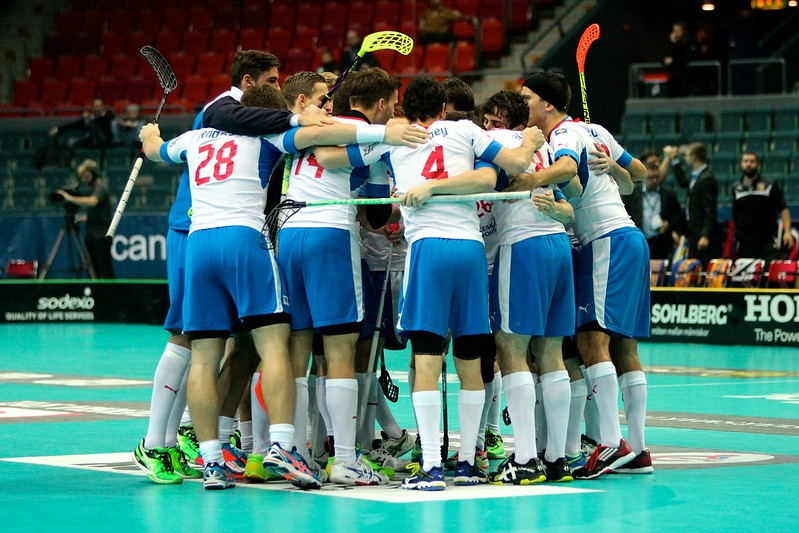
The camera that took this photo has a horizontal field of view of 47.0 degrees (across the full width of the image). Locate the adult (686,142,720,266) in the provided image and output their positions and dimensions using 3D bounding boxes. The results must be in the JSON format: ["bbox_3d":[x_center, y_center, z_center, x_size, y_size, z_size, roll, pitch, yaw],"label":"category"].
[{"bbox_3d":[5.364,-1.070,16.125,0.507,2.066,0.584,-1,-1,16],"label":"adult"}]

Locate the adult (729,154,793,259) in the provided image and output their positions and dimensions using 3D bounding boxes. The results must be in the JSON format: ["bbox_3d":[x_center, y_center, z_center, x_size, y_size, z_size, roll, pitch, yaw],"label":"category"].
[{"bbox_3d":[6.231,-1.028,15.702,0.946,1.830,0.873,-1,-1,23],"label":"adult"}]

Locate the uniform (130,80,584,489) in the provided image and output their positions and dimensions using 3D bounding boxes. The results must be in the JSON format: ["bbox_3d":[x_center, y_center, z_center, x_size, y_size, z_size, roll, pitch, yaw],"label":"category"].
[{"bbox_3d":[-0.241,0.192,7.884,3.663,3.786,1.237,0,4,-6],"label":"uniform"}]

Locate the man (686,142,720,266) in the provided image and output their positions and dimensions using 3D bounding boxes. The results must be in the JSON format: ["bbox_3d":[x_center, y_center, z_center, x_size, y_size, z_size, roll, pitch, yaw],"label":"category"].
[{"bbox_3d":[5.358,-1.070,16.119,0.507,2.066,0.575,-1,-1,17],"label":"man"}]

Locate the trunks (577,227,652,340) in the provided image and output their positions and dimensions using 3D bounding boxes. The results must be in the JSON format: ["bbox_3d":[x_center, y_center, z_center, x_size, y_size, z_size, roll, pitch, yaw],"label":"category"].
[{"bbox_3d":[1.897,0.150,8.131,0.536,0.929,0.939,1,-4,32],"label":"trunks"}]

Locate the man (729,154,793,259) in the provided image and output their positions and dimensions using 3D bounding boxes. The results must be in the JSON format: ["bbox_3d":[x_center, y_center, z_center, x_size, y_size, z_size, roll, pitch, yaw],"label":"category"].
[{"bbox_3d":[6.239,-1.027,15.713,0.952,1.830,0.896,-1,-1,22],"label":"man"}]

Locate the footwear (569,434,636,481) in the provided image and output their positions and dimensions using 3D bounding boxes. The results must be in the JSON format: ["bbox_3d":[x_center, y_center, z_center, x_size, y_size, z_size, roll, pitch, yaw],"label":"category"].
[{"bbox_3d":[1.781,1.662,8.082,0.640,0.267,0.241,-26,-1,4],"label":"footwear"}]

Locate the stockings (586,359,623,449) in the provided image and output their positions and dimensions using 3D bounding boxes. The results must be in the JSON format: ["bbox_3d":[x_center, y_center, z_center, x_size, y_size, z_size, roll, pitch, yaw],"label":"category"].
[{"bbox_3d":[1.831,1.269,8.089,0.319,0.801,0.264,-11,-28,30],"label":"stockings"}]
